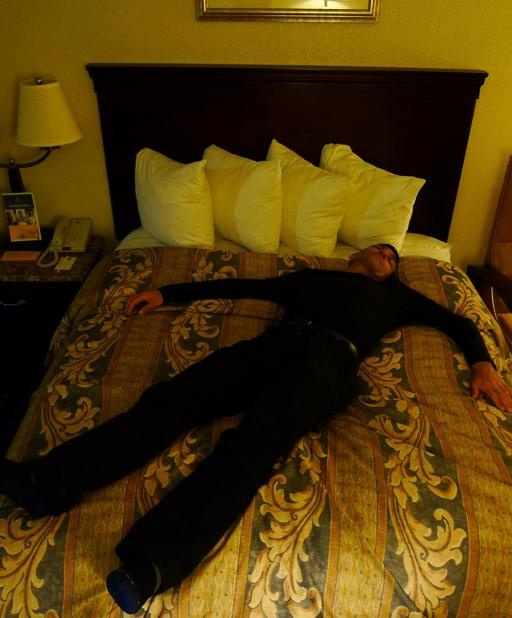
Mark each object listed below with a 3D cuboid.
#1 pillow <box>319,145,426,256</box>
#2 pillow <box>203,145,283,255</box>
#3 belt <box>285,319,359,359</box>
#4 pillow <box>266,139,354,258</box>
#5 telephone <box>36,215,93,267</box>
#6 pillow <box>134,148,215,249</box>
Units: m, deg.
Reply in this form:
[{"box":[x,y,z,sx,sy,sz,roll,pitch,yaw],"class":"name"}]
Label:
[{"box":[0.591,-0.534,2.431,0.498,0.495,0.154,27,11,29],"class":"pillow"},{"box":[-0.104,-0.548,2.529,0.475,0.439,0.193,18,24,37],"class":"pillow"},{"box":[0.232,0.108,1.540,0.175,0.071,0.192,26,10,-44],"class":"belt"},{"box":[0.226,-0.549,2.565,0.232,0.468,0.605,-19,40,-28],"class":"pillow"},{"box":[-1.001,-0.396,2.614,0.179,0.113,0.312,5,40,-3],"class":"telephone"},{"box":[-0.402,-0.533,2.438,0.429,0.399,0.188,25,31,35],"class":"pillow"}]
